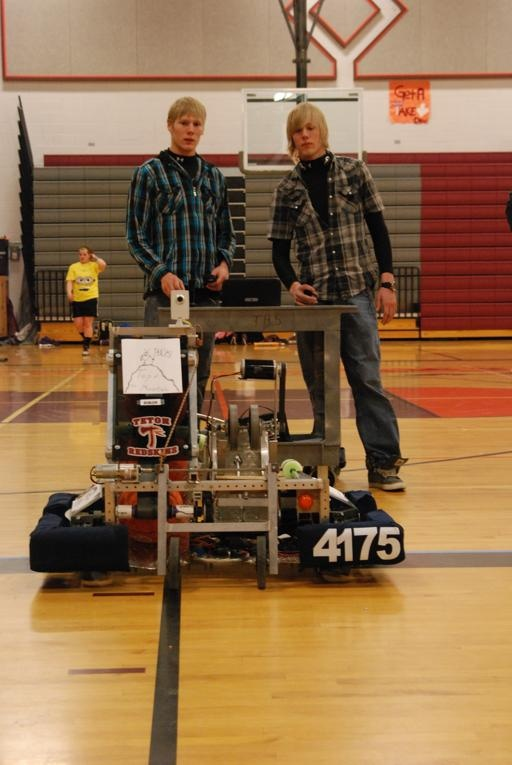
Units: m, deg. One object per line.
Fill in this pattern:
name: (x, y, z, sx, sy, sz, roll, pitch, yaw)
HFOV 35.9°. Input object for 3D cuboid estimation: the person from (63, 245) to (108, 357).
person: (-2.373, -1.128, 11.007, 0.497, 1.483, 0.555, -2, 6, -16)

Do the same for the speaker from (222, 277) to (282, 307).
speaker: (-0.014, -0.277, 2.464, 0.112, 0.068, 0.148, -1, 1, -2)

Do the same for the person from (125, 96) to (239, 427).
person: (-0.261, -0.592, 2.760, 0.363, 0.783, 0.465, 0, 6, -1)

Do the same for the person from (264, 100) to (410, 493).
person: (0.326, -0.278, 3.006, 0.544, 1.447, 0.314, -4, 7, -30)
